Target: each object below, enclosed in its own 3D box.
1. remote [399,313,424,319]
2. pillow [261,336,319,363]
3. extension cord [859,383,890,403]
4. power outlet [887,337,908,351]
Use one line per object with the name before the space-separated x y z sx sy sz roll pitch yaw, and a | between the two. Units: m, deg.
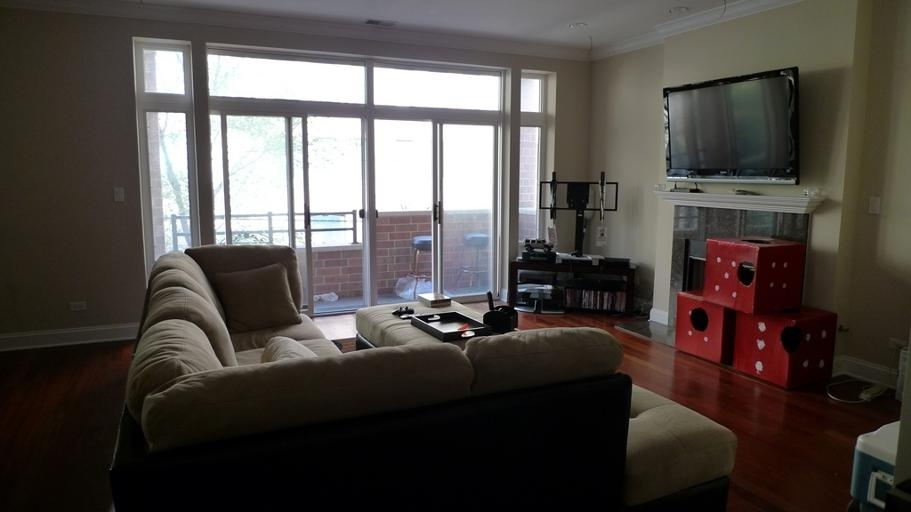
remote | -0.449 0.591 5.666 0.160 0.019 0.080 -3 6 -38
pillow | -1.263 0.706 4.316 0.309 0.093 0.327 -1 6 -25
extension cord | 4.005 1.318 5.587 0.476 0.085 0.124 -7 10 -30
power outlet | 4.299 0.862 5.638 0.187 0.060 0.129 -2 7 -10
